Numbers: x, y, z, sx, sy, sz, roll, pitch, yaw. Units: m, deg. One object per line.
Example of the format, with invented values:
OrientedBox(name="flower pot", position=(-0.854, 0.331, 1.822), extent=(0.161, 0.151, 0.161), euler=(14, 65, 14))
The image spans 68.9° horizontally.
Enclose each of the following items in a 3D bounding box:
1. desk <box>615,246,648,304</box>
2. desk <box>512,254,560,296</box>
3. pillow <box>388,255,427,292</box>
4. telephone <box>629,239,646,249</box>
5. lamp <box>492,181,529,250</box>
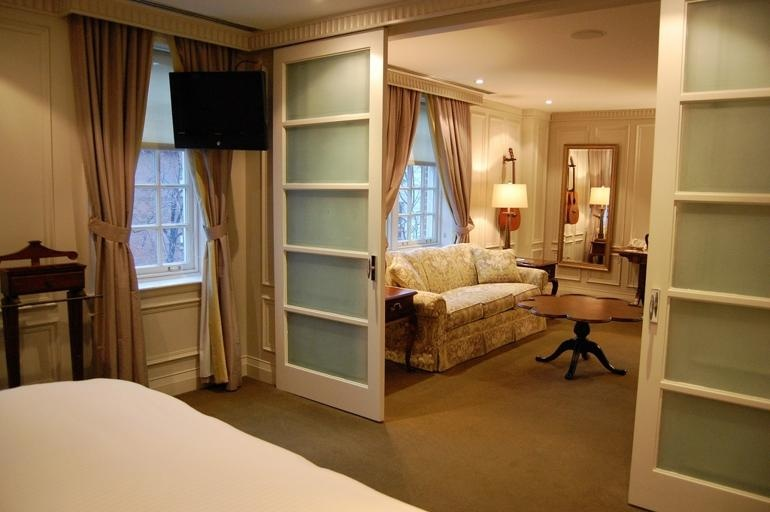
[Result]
OrientedBox(name="desk", position=(3.551, 0.254, 8.034), extent=(0.708, 0.771, 0.818), euler=(1, 3, 22))
OrientedBox(name="desk", position=(2.203, 0.165, 7.958), extent=(0.536, 0.678, 0.709), euler=(3, 5, 39))
OrientedBox(name="pillow", position=(0.240, 0.209, 6.078), extent=(0.414, 0.406, 0.539), euler=(2, 12, 4))
OrientedBox(name="telephone", position=(3.802, -0.195, 8.365), extent=(0.152, 0.067, 0.193), euler=(6, 13, 31))
OrientedBox(name="lamp", position=(1.785, -0.585, 8.146), extent=(0.458, 0.973, 0.803), euler=(4, 12, 10))
